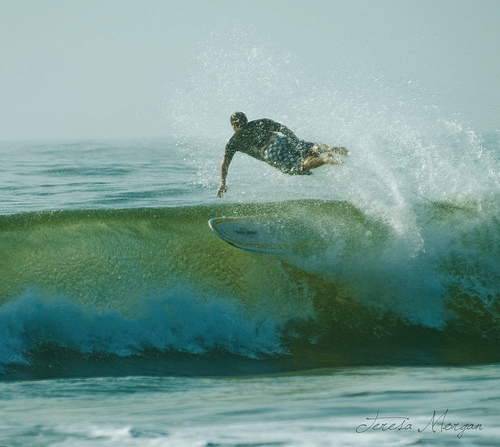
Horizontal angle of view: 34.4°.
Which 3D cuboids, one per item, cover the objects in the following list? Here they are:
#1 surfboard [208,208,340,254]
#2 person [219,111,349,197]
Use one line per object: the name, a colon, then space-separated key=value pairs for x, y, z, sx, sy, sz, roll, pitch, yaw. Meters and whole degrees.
surfboard: x=0.435 y=0.137 z=11.657 sx=1.614 sy=0.192 sz=0.695 roll=-4 pitch=38 yaw=-15
person: x=0.463 y=-0.956 z=11.107 sx=1.912 sy=0.542 sz=1.313 roll=27 pitch=29 yaw=33
